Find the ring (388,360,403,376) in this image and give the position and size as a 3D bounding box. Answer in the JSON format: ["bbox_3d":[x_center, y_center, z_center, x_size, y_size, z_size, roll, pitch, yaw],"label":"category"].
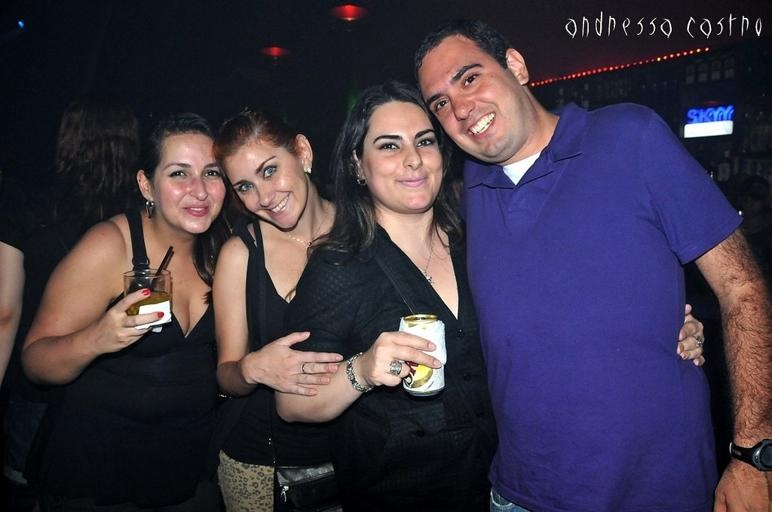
[{"bbox_3d":[0.055,0.684,3.613,0.083,0.095,0.017,1,3,-5],"label":"ring"}]

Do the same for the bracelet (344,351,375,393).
[{"bbox_3d":[-0.174,0.743,3.804,0.096,0.239,0.208,-16,-29,22],"label":"bracelet"}]

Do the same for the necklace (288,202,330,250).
[{"bbox_3d":[-0.630,-0.229,4.708,0.270,0.121,0.344,-35,29,16],"label":"necklace"}]

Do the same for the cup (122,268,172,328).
[{"bbox_3d":[-1.743,0.286,4.235,0.385,0.385,0.373,0,3,0],"label":"cup"}]
